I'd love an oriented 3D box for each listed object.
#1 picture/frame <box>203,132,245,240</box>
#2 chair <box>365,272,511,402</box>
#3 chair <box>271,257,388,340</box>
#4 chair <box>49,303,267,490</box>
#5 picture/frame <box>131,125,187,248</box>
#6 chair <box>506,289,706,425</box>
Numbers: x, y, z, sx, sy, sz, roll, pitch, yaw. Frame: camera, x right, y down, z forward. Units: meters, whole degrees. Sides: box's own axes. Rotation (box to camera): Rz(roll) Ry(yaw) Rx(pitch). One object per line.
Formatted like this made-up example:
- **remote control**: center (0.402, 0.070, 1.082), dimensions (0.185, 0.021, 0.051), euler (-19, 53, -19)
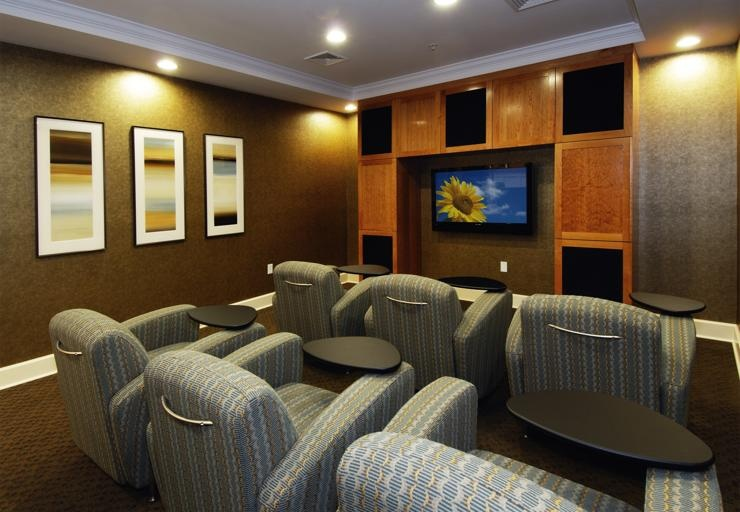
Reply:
- **picture/frame**: center (-1.597, -0.776, 5.681), dimensions (0.091, 1.089, 0.547), euler (1, 8, 29)
- **chair**: center (0.471, 0.482, 3.820), dimensions (0.906, 0.845, 0.844), euler (8, 18, 34)
- **chair**: center (-0.356, 0.316, 4.326), dimensions (0.805, 0.713, 0.856), euler (4, 16, 9)
- **chair**: center (-1.379, 0.710, 3.431), dimensions (1.062, 1.121, 1.219), euler (8, 11, 35)
- **picture/frame**: center (-2.079, -0.692, 5.092), dimensions (0.088, 1.113, 0.562), euler (2, 8, 33)
- **chair**: center (1.438, 0.538, 3.241), dimensions (1.051, 0.853, 0.803), euler (3, 19, 33)
